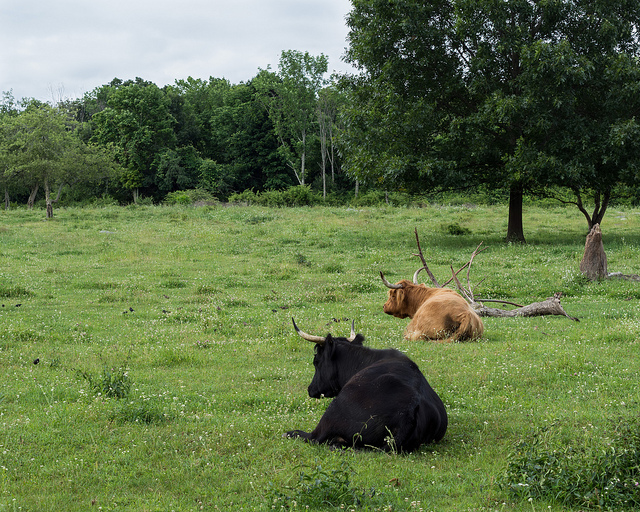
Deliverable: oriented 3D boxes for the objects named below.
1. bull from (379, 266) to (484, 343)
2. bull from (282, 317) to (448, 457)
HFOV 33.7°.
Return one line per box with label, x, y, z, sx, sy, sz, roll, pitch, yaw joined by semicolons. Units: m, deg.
bull;3.962;1.871;39.619;1.931;2.692;4.300;9;2;-41
bull;1.498;4.533;34.514;4.351;3.933;5.778;8;4;-39
